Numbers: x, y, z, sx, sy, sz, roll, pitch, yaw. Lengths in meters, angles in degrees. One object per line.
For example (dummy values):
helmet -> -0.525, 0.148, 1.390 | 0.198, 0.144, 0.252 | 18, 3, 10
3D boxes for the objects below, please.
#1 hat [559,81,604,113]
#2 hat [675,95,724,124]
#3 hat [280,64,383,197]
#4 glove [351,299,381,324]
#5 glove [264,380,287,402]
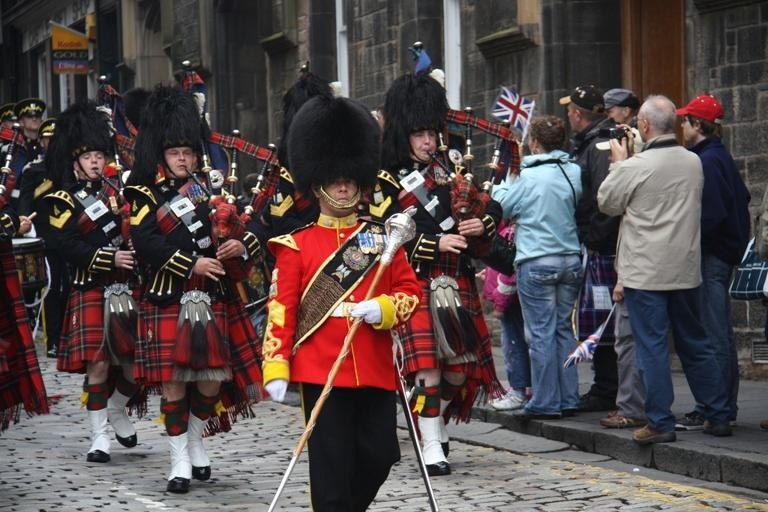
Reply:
hat -> 1.662, -1.413, 11.243 | 0.554, 0.245, 0.359 | 6, 11, 27
hat -> 2.540, -1.184, 10.299 | 0.426, 0.182, 0.273 | 6, 12, 17
hat -> -0.353, -0.740, 8.321 | 0.869, 0.905, 0.501 | 3, -4, -4
glove -> -0.112, 0.342, 7.743 | 0.188, 0.152, 0.075 | -2, 1, -4
glove -> -0.673, 0.819, 7.727 | 0.135, 0.132, 0.058 | 26, -18, -17
